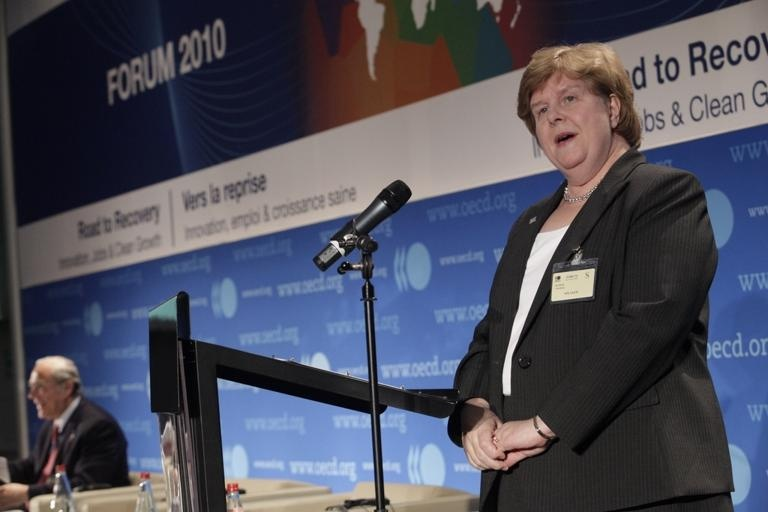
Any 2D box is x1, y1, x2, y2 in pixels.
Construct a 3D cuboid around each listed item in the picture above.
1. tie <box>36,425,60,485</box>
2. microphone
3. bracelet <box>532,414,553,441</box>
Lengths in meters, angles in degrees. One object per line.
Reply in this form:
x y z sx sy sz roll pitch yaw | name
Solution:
-2.409 1.428 6.303 0.257 0.416 0.092 5 -5 -16 | tie
-0.100 -0.194 5.091 0.171 0.702 0.158 43 1 -26 | microphone
0.610 0.659 3.352 0.073 0.097 0.032 -1 -12 -13 | bracelet
